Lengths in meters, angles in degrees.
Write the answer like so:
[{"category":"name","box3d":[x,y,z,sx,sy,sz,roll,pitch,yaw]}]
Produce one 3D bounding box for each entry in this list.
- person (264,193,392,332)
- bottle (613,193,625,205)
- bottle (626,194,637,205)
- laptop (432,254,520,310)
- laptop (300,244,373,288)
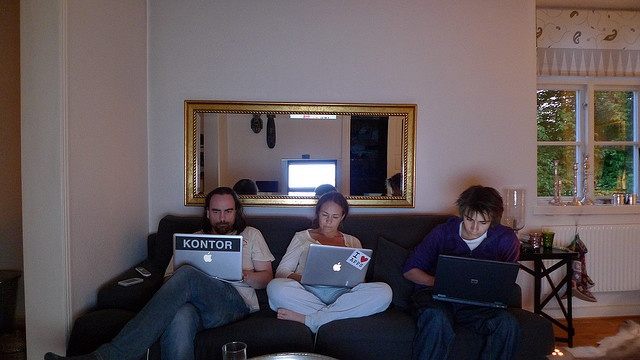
[{"category":"person","box3d":[0.032,0.805,4.861,1.745,1.472,1.186,4,-1,-8]},{"category":"bottle","box3d":[3.412,0.220,5.403,0.137,0.131,0.128,0,4,11]},{"category":"bottle","box3d":[3.550,0.230,5.410,0.132,0.106,0.107,1,2,-1]},{"category":"laptop","box3d":[1.376,0.895,4.147,0.762,0.454,0.515,4,13,8]},{"category":"laptop","box3d":[0.161,0.798,4.305,0.659,0.381,0.423,6,14,-11]}]
